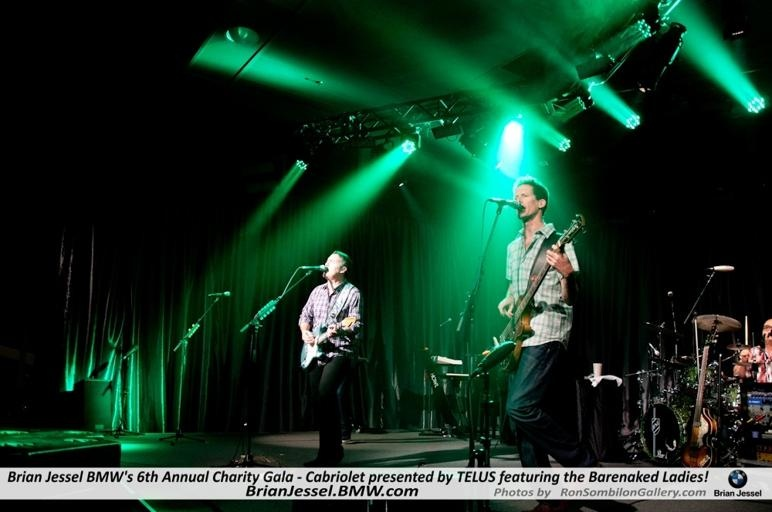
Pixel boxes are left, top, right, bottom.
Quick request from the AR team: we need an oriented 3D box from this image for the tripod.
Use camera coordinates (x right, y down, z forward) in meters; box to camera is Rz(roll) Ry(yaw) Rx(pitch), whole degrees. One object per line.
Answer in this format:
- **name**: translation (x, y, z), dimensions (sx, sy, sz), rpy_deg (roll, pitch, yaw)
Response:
- **tripod**: translation (-3.237, 2.210, 9.584), dimensions (0.557, 1.435, 1.999), rpy_deg (6, -14, -19)

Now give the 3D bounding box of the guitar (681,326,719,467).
- **guitar**: translation (3.757, 1.785, 7.147), dimensions (0.274, 1.441, 0.567), rpy_deg (1, -13, 4)

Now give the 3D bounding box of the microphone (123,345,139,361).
- **microphone**: translation (-4.474, 1.691, 10.443), dimensions (0.232, 0.277, 0.491), rpy_deg (7, -14, -22)

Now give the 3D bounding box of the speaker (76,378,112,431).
- **speaker**: translation (-4.835, 2.494, 9.938), dimensions (0.201, 0.815, 0.683), rpy_deg (-8, -16, 37)

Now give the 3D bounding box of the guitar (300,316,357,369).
- **guitar**: translation (-0.670, 0.975, 6.681), dimensions (0.667, 0.574, 0.217), rpy_deg (-7, -16, 33)

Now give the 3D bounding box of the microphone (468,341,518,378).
- **microphone**: translation (1.016, 0.925, 5.467), dimensions (0.164, 0.290, 0.418), rpy_deg (15, -49, -32)

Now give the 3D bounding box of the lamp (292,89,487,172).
- **lamp**: translation (0.086, -2.140, 9.852), dimensions (2.909, 0.600, 0.376), rpy_deg (-9, -2, 4)
